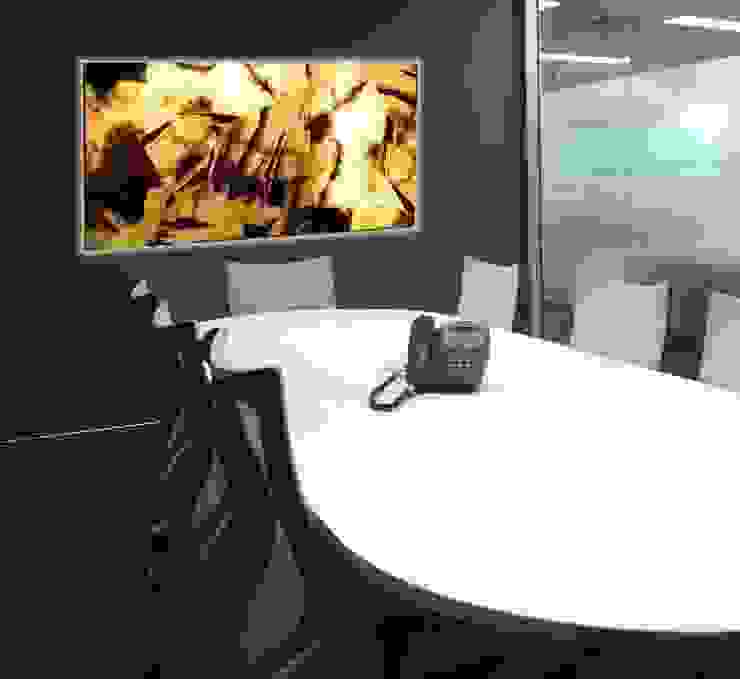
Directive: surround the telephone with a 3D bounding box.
[{"bbox_3d":[0.250,0.029,2.005,0.286,0.116,0.353,-5,25,0],"label":"telephone"}]
